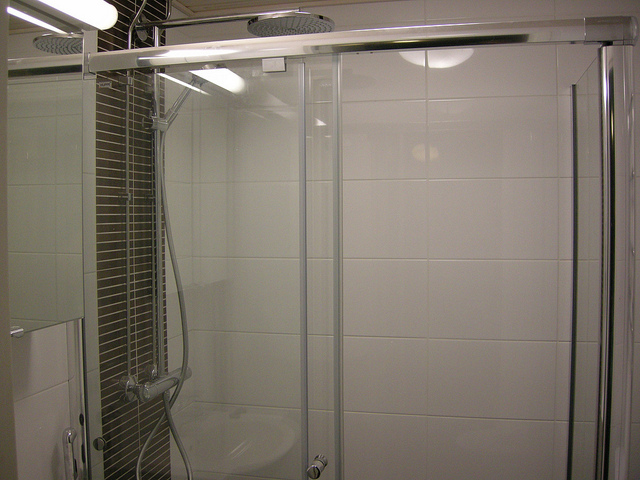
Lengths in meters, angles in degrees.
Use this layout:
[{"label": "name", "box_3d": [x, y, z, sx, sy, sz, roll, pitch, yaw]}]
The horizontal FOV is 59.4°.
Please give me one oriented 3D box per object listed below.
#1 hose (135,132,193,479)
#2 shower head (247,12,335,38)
[{"label": "hose", "box_3d": [-0.510, 0.263, 1.889, 0.112, 0.176, 1.222, 2, -85, 13]}, {"label": "shower head", "box_3d": [-0.096, -0.682, 1.823, 0.275, 0.189, 0.077, 2, -84, 3]}]
